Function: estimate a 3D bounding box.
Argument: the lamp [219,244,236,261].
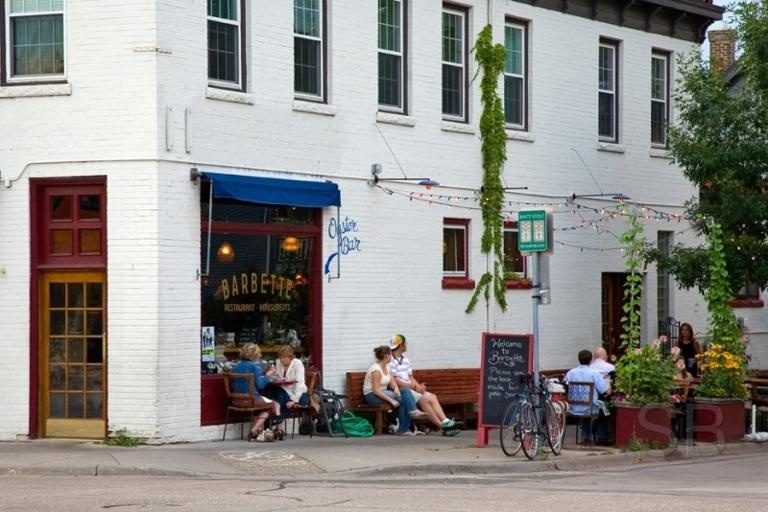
[{"bbox_3d":[-3.070,-0.077,24.867,0.310,0.310,0.312,-3,-3,37],"label":"lamp"}]

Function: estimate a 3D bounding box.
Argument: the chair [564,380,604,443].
[{"bbox_3d":[3.803,3.004,24.739,0.617,1.200,0.588,-2,-7,8],"label":"chair"}]

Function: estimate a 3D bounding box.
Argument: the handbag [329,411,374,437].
[{"bbox_3d":[-0.605,3.327,25.550,0.749,0.535,0.770,-6,-9,31],"label":"handbag"}]

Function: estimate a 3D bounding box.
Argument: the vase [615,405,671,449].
[{"bbox_3d":[4.855,3.210,24.353,0.974,0.653,0.879,2,-6,-16],"label":"vase"}]

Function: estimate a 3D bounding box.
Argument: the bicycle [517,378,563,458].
[{"bbox_3d":[2.790,2.939,23.339,0.382,1.450,1.097,-8,-10,42],"label":"bicycle"}]

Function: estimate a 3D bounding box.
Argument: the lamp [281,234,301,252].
[{"bbox_3d":[-1.871,-0.238,25.705,0.328,0.210,0.319,1,-1,-31],"label":"lamp"}]

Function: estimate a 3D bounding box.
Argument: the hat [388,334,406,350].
[{"bbox_3d":[0.267,1.762,26.577,0.232,0.167,0.348,0,5,22],"label":"hat"}]

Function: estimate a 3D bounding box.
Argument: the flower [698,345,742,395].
[{"bbox_3d":[6.709,2.298,25.715,0.946,1.102,0.556,-2,-7,6],"label":"flower"}]

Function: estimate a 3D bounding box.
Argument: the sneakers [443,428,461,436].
[{"bbox_3d":[1.349,3.559,25.980,0.359,0.132,0.134,-6,-7,7],"label":"sneakers"}]

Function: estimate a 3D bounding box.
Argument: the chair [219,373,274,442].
[{"bbox_3d":[-2.608,2.860,24.503,0.989,1.272,0.736,-1,-7,-5],"label":"chair"}]

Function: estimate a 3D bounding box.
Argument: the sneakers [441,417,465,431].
[{"bbox_3d":[1.349,3.411,25.990,0.476,0.185,0.215,-4,-8,11],"label":"sneakers"}]

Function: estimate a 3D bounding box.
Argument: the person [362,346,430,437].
[{"bbox_3d":[0.090,2.709,25.977,1.102,1.787,0.436,-1,-7,0],"label":"person"}]

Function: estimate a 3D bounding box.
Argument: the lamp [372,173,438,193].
[{"bbox_3d":[0.468,-1.566,26.957,1.757,0.272,0.238,4,-9,-34],"label":"lamp"}]

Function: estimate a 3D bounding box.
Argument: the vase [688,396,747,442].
[{"bbox_3d":[6.574,3.242,25.420,1.186,0.872,0.372,2,-8,-23],"label":"vase"}]

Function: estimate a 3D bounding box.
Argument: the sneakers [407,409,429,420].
[{"bbox_3d":[0.674,3.210,25.926,0.409,0.150,0.150,-3,-5,9],"label":"sneakers"}]
